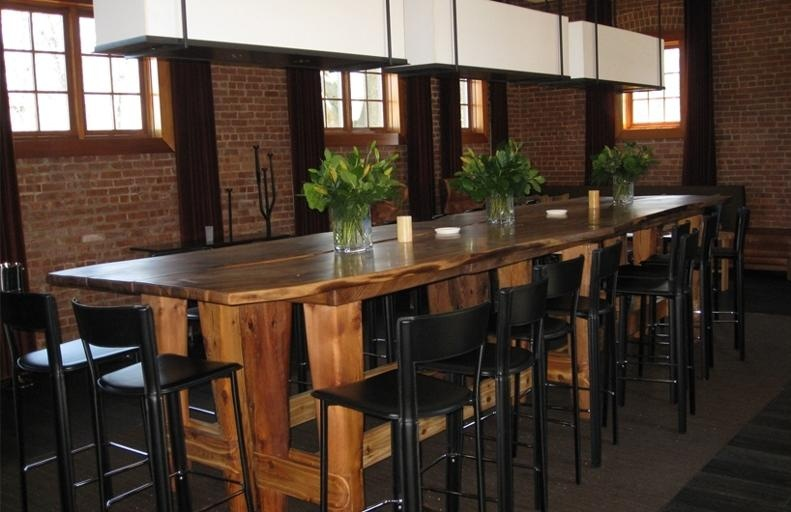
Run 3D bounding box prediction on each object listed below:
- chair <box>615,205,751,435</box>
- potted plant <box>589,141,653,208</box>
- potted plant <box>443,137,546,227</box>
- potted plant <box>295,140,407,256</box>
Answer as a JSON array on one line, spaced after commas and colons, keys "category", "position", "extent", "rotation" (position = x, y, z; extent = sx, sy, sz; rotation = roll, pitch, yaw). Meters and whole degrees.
[{"category": "chair", "position": [2.400, 0.563, 5.432], "extent": [0.636, 1.204, 1.804], "rotation": [3, 7, 30]}, {"category": "potted plant", "position": [2.332, -0.813, 6.599], "extent": [0.584, 0.598, 0.636], "rotation": [-2, -9, 14]}, {"category": "potted plant", "position": [0.837, -0.572, 5.207], "extent": [0.711, 0.569, 0.627], "rotation": [-8, 7, -10]}, {"category": "potted plant", "position": [-0.320, -0.364, 4.060], "extent": [0.677, 0.665, 0.764], "rotation": [7, 8, 43]}]
